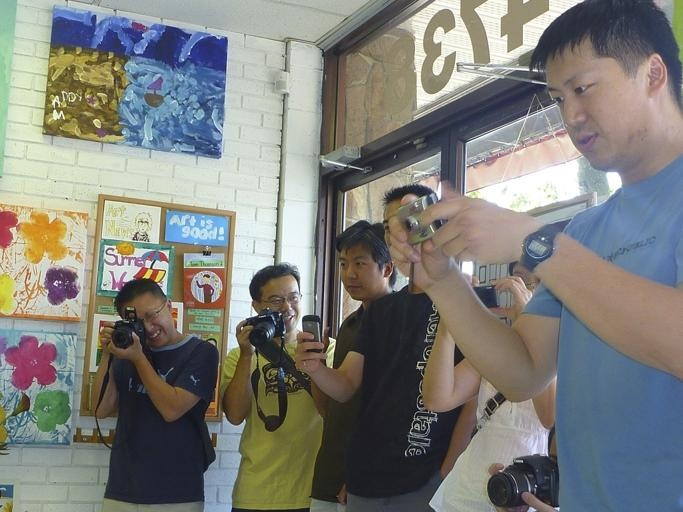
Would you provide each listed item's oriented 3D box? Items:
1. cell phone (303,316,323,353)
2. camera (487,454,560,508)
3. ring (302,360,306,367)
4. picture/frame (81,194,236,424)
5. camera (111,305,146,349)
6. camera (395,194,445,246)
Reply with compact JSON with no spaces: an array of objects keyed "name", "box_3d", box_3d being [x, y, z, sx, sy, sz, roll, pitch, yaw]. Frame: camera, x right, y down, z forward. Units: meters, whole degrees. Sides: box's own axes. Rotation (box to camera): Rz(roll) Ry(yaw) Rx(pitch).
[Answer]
[{"name":"cell phone","box_3d":[-0.137,0.336,2.453,0.089,0.196,0.044,5,-36,-9]},{"name":"camera","box_3d":[0.486,0.562,1.577,0.164,0.111,0.154,6,-10,-34]},{"name":"ring","box_3d":[-0.151,0.430,2.360,0.021,0.023,0.007,1,-1,-27]},{"name":"picture/frame","box_3d":[-1.132,0.307,3.676,0.836,1.428,0.058,4,14,-17]},{"name":"camera","box_3d":[-1.032,0.339,2.770,0.162,0.175,0.167,3,1,20]},{"name":"camera","box_3d":[0.158,-0.075,1.218,0.035,0.098,0.096,1,-7,-37]}]
